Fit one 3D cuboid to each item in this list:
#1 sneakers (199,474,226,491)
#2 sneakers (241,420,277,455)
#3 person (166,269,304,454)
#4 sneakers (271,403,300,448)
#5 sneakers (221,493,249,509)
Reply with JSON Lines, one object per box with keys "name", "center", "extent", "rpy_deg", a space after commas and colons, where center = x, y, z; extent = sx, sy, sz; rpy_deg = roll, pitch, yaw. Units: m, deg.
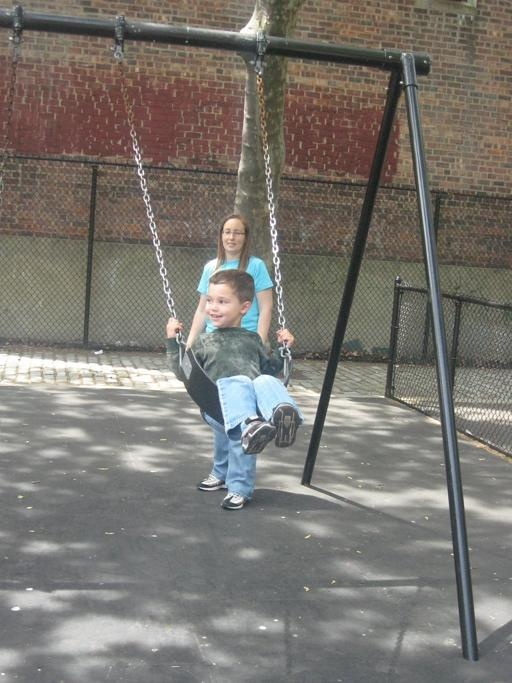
{"name": "sneakers", "center": [-0.243, 0.803, 4.470], "extent": [0.171, 0.082, 0.062], "rpy_deg": [4, -8, -25]}
{"name": "sneakers", "center": [0.006, 0.420, 3.579], "extent": [0.091, 0.099, 0.202], "rpy_deg": [11, -39, -19]}
{"name": "person", "center": [-0.076, 0.064, 3.863], "extent": [0.608, 0.681, 1.108], "rpy_deg": [-10, 15, -12]}
{"name": "sneakers", "center": [0.130, 0.387, 3.621], "extent": [0.143, 0.219, 0.150], "rpy_deg": [2, 5, -12]}
{"name": "sneakers", "center": [-0.115, 0.828, 4.114], "extent": [0.053, 0.057, 0.140], "rpy_deg": [-2, -14, 24]}
